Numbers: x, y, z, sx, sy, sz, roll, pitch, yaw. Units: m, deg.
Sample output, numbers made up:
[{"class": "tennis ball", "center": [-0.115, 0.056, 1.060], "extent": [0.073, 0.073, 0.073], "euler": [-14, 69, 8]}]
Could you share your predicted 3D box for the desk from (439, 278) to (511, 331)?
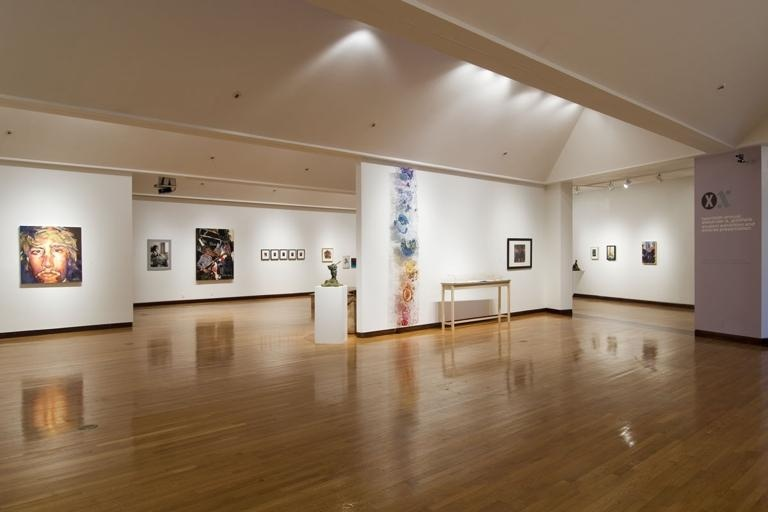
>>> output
[{"class": "desk", "center": [2.349, 1.203, 12.247], "extent": [2.043, 1.097, 0.539], "euler": [-1, 0, -34]}]

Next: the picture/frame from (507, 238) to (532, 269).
[{"class": "picture/frame", "center": [3.730, -0.086, 13.415], "extent": [0.854, 0.868, 0.062], "euler": [-1, 1, -34]}]
